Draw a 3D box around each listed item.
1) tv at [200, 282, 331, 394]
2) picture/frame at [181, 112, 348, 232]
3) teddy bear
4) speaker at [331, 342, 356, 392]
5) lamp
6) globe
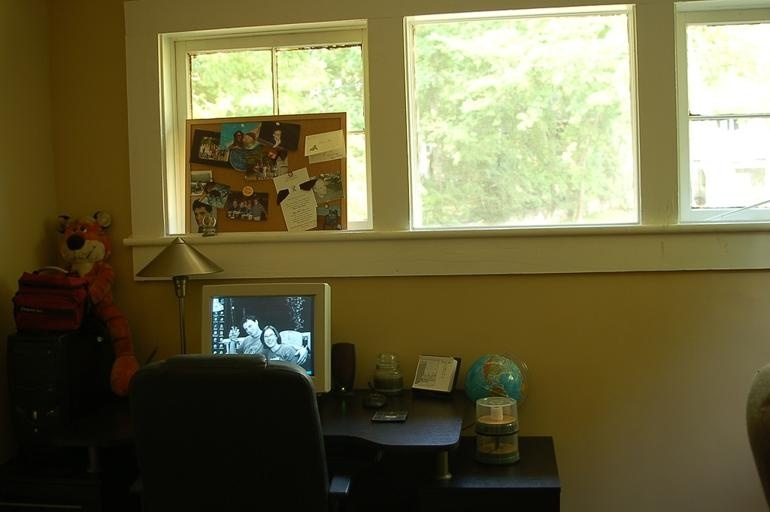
[{"bbox_3d":[-0.550,0.318,3.067,0.602,0.514,0.179,2,7,8],"label":"tv"},{"bbox_3d":[-0.622,-0.428,3.410,0.927,0.589,0.107,2,7,9],"label":"picture/frame"},{"bbox_3d":[-1.468,0.219,3.296,0.235,0.868,0.633,-7,10,-39],"label":"teddy bear"},{"bbox_3d":[-0.208,0.557,3.213,0.146,0.233,0.144,1,-10,-14],"label":"speaker"},{"bbox_3d":[-1.023,0.297,3.221,0.438,0.754,0.409,-4,2,-32],"label":"lamp"},{"bbox_3d":[0.537,0.598,3.073,0.249,0.182,0.247,-2,4,-28],"label":"globe"}]
